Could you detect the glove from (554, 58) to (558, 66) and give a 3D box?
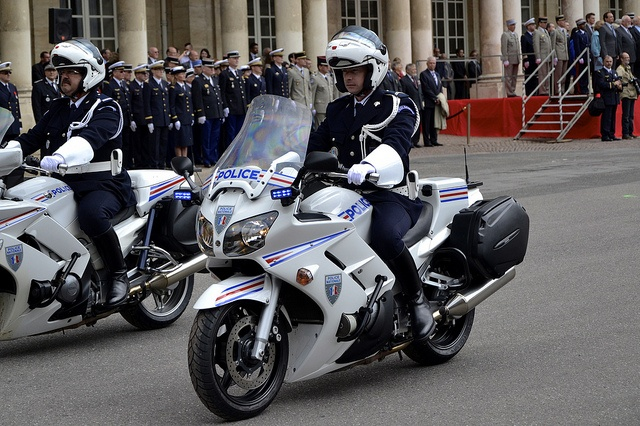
[{"bbox_3d":[9.294,-5.956,24.415,0.165,0.306,0.519,3,12,21],"label":"glove"}]

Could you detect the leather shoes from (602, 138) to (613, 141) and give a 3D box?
[{"bbox_3d":[10.026,-2.576,21.677,0.322,0.150,0.115,1,5,11],"label":"leather shoes"}]

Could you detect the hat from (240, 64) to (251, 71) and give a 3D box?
[{"bbox_3d":[-2.189,-4.264,18.342,0.323,0.173,0.495,-2,6,-1],"label":"hat"}]

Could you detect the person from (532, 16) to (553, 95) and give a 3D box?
[{"bbox_3d":[8.706,-6.172,24.357,0.728,2.980,1.537,2,10,19],"label":"person"}]

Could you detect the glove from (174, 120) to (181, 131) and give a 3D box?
[{"bbox_3d":[-3.808,-2.341,16.672,0.125,0.194,0.162,5,26,17],"label":"glove"}]

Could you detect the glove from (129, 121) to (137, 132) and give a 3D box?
[{"bbox_3d":[-4.885,-2.292,16.246,0.169,0.276,0.083,-2,-3,-13],"label":"glove"}]

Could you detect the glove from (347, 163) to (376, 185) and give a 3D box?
[{"bbox_3d":[0.268,-0.290,4.123,0.114,0.070,0.170,-4,33,22],"label":"glove"}]

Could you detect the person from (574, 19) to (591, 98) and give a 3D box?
[{"bbox_3d":[9.674,-5.795,23.025,0.579,2.686,1.469,1,10,14],"label":"person"}]

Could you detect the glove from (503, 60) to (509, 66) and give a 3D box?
[{"bbox_3d":[7.565,-6.072,25.267,0.167,0.093,0.259,0,48,4],"label":"glove"}]

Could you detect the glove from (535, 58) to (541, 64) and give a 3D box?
[{"bbox_3d":[8.544,-5.941,24.309,0.195,0.242,0.200,5,12,30],"label":"glove"}]

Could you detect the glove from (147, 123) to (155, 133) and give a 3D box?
[{"bbox_3d":[-4.428,-2.244,16.332,0.143,0.182,0.207,-7,42,5],"label":"glove"}]

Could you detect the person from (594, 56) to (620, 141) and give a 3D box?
[{"bbox_3d":[9.983,-3.964,21.525,0.959,2.856,0.591,-4,10,-15],"label":"person"}]

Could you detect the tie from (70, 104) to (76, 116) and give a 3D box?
[{"bbox_3d":[-2.283,-0.961,5.741,0.067,0.106,0.030,-1,-7,24],"label":"tie"}]

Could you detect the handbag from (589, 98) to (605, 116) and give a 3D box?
[{"bbox_3d":[9.661,-3.719,21.805,0.396,0.619,0.487,-1,1,-17],"label":"handbag"}]

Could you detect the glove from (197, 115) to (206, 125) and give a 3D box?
[{"bbox_3d":[-3.269,-2.580,17.208,0.130,0.202,0.073,-1,38,-1],"label":"glove"}]

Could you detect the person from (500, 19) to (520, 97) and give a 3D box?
[{"bbox_3d":[7.847,-6.366,25.539,0.794,3.094,1.346,2,10,16],"label":"person"}]

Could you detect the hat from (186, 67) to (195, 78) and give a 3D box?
[{"bbox_3d":[-3.628,-3.911,17.333,0.224,0.263,0.270,-4,-2,2],"label":"hat"}]

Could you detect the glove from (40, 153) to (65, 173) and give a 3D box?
[{"bbox_3d":[-2.185,-0.413,5.092,0.157,0.132,0.071,-16,-19,26],"label":"glove"}]

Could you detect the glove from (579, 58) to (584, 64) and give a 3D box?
[{"bbox_3d":[9.699,-5.636,23.035,0.155,0.198,0.479,3,12,23],"label":"glove"}]

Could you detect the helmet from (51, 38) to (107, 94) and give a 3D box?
[{"bbox_3d":[-2.235,-1.353,5.765,0.373,0.441,0.486,-2,8,35],"label":"helmet"}]

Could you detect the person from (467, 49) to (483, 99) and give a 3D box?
[{"bbox_3d":[7.131,-6.450,28.664,0.645,1.713,2.723,1,11,13],"label":"person"}]

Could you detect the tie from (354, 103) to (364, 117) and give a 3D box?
[{"bbox_3d":[0.292,-0.795,4.751,0.060,0.096,0.023,-6,-15,36],"label":"tie"}]
